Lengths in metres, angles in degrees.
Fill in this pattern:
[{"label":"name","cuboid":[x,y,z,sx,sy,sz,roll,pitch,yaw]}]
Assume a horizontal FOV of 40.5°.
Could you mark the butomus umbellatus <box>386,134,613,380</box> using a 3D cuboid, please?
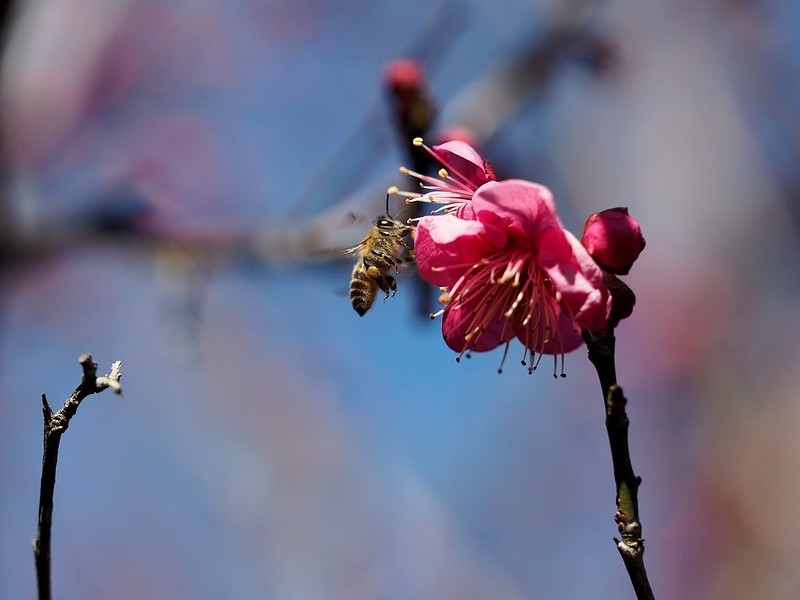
[{"label":"butomus umbellatus","cuboid":[0.355,-0.093,3.572,0.711,0.574,0.637,19,-28,-10]}]
